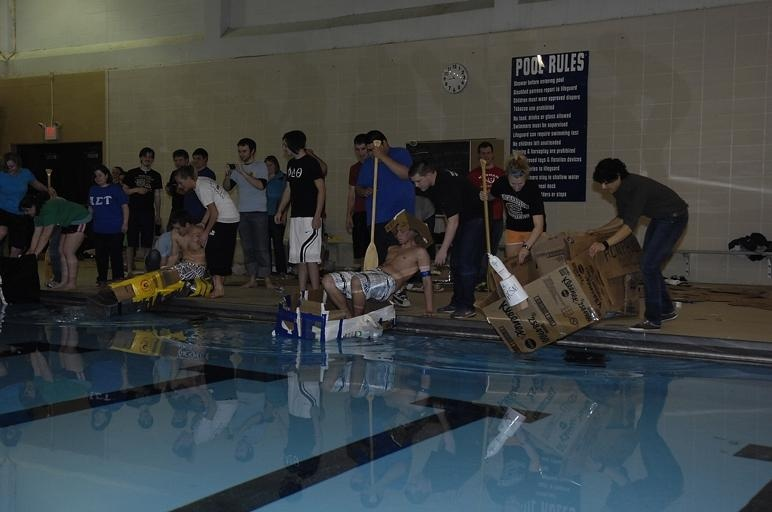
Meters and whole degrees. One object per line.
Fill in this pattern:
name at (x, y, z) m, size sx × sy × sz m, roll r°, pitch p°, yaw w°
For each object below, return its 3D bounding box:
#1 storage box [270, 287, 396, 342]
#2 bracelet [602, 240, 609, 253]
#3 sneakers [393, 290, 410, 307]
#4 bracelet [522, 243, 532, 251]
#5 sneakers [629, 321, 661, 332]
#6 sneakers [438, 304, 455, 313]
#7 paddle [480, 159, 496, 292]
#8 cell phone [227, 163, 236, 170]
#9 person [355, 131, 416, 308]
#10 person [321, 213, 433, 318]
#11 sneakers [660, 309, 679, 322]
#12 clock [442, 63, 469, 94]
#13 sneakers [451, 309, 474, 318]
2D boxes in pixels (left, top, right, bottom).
storage box at (-0.613, 0.490, 6.013) m, size 0.777 × 0.298 × 0.605 m, roll 0°, pitch 1°, yaw 37°
bracelet at (2.087, -0.094, 5.767) m, size 0.068 × 0.090 × 0.089 m, roll -17°, pitch -15°, yaw 25°
sneakers at (0.164, 0.502, 7.283) m, size 0.104 × 0.139 × 0.303 m, roll -3°, pitch 11°, yaw -21°
bracelet at (1.406, -0.090, 6.041) m, size 0.074 × 0.029 × 0.072 m, roll 26°, pitch -3°, yaw 4°
sneakers at (2.486, 0.674, 5.796) m, size 0.284 × 0.118 × 0.116 m, roll 2°, pitch 0°, yaw 8°
sneakers at (0.665, 0.582, 6.715) m, size 0.201 × 0.089 × 0.075 m, roll 2°, pitch -8°, yaw -4°
paddle at (1.053, -0.431, 6.329) m, size 0.077 × 1.128 × 0.105 m, roll 0°, pitch 8°, yaw 42°
cell phone at (-2.060, -1.190, 8.091) m, size 0.120 × 0.117 × 0.028 m, roll -2°, pitch 39°, yaw -29°
person at (-0.018, -0.441, 6.990) m, size 0.640 × 1.904 × 0.590 m, roll -6°, pitch 1°, yaw 23°
person at (-0.091, 0.161, 6.260) m, size 1.103 × 1.143 × 0.761 m, roll -4°, pitch 7°, yaw -30°
sneakers at (2.917, 0.611, 6.214) m, size 0.094 × 0.106 × 0.257 m, roll 5°, pitch 23°, yaw 45°
clock at (1.142, -2.887, 9.838) m, size 0.483 × 0.504 × 0.066 m, roll 5°, pitch 6°, yaw 21°
sneakers at (0.814, 0.609, 6.455) m, size 0.244 × 0.100 × 0.094 m, roll 3°, pitch -4°, yaw -22°
